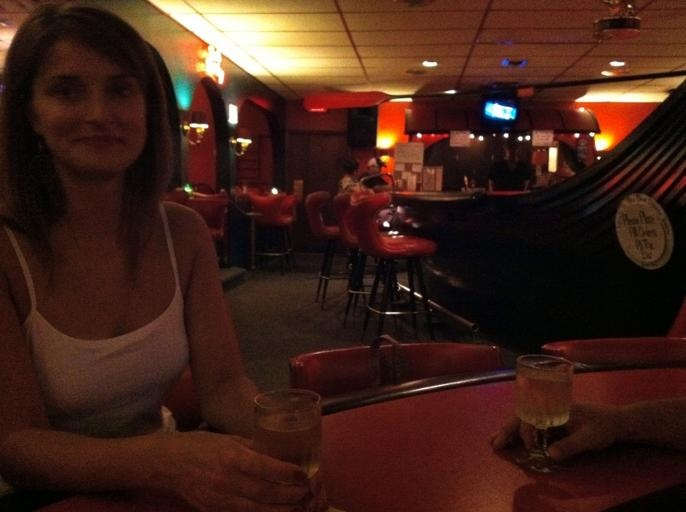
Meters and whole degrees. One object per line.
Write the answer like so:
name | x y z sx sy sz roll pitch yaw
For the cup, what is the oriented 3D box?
cup | -0.099 0.345 0.980 0.130 0.161 0.173 1 9 -7
